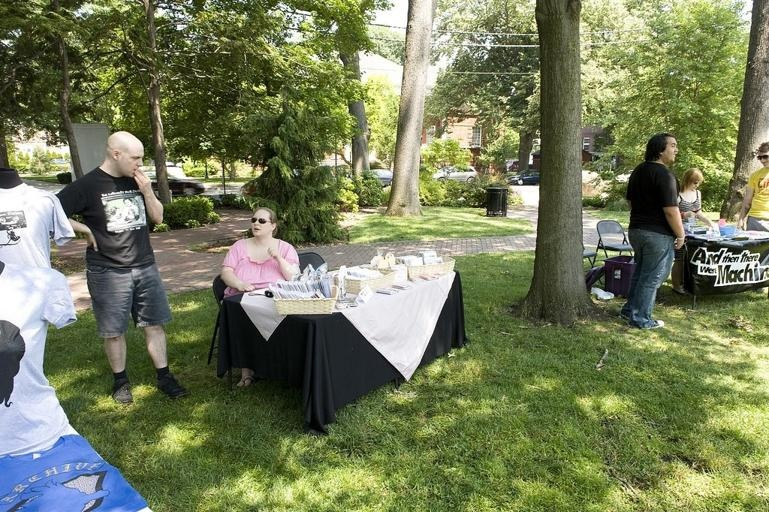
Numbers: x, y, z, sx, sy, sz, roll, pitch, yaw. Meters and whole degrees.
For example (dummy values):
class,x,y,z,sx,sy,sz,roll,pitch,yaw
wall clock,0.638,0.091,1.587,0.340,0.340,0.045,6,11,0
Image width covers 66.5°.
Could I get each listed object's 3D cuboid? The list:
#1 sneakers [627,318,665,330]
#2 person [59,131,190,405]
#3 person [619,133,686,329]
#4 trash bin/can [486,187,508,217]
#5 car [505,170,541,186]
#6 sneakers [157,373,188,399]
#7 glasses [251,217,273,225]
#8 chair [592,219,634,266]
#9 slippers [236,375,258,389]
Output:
class,x,y,z,sx,sy,sz,roll,pitch,yaw
sneakers,3.837,1.016,8.618,0.516,0.219,0.182,0,3,-1
person,-3.032,0.165,6.786,0.985,3.122,0.608,-7,13,-26
person,3.854,-0.352,8.488,0.773,2.791,0.536,4,13,22
trash bin/can,3.845,-1.865,20.228,0.842,1.292,1.019,0,7,4
car,8.483,-4.797,36.160,2.968,0.797,1.492,-10,15,-34
sneakers,-2.570,1.558,7.092,0.428,0.211,0.183,9,10,22
glasses,-1.501,-0.432,7.142,0.251,0.095,0.063,-4,13,-14
chair,4.092,-0.192,10.521,0.604,0.867,0.595,-4,11,-22
slippers,-1.698,1.556,7.216,0.177,0.108,0.328,0,2,-5
